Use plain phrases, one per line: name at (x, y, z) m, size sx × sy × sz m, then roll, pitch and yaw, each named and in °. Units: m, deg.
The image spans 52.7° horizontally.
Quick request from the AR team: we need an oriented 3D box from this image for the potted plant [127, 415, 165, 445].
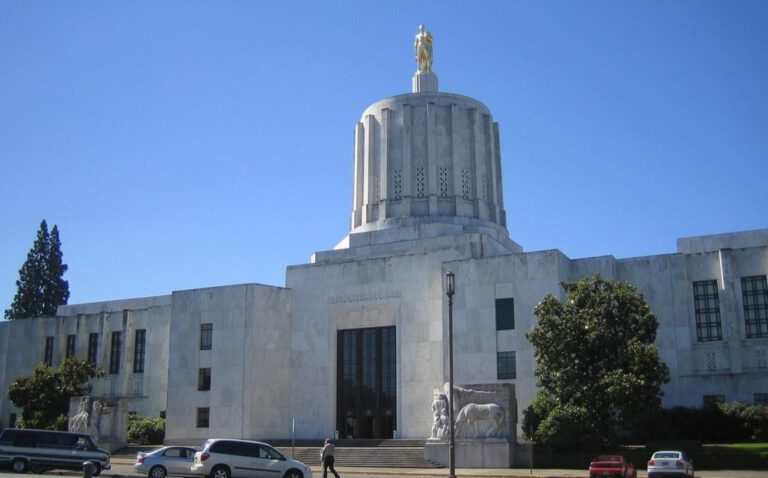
potted plant at (-19.727, 15.947, 64.040) m, size 2.281 × 1.630 × 2.255 m, roll 9°, pitch -16°, yaw -33°
